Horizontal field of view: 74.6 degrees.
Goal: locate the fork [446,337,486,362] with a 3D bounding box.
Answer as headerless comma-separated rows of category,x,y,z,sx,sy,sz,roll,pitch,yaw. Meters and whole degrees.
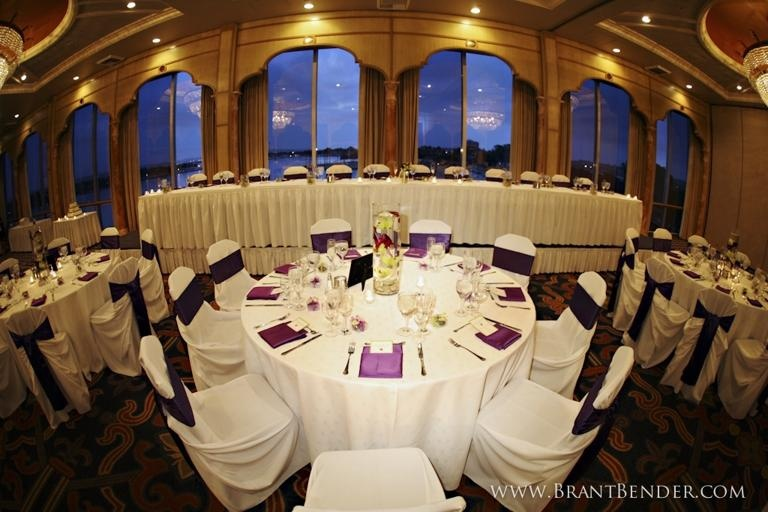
fork,0.876,1.026,5.425,0.353,0.051,0.042,34,-17,28

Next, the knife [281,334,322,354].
knife,-0.903,0.969,5.456,0.323,0.051,0.041,-27,-23,-26

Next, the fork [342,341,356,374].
fork,-0.369,1.093,5.345,0.063,0.046,0.398,12,47,3

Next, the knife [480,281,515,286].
knife,1.386,0.343,6.189,0.415,0.050,0.022,3,15,-10
